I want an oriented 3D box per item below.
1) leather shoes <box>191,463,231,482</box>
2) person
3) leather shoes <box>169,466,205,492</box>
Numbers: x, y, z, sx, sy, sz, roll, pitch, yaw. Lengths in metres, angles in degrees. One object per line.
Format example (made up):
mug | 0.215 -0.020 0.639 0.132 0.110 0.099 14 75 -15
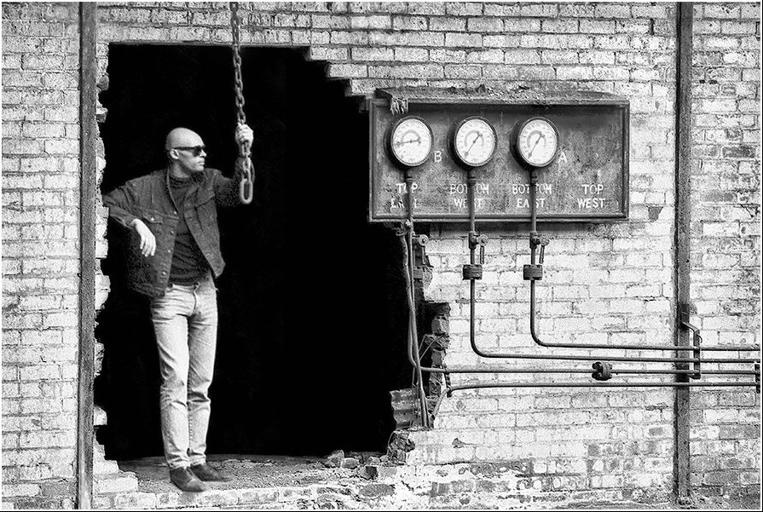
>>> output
leather shoes | -1.506 1.912 16.704 0.393 0.135 0.137 13 8 -4
person | -1.756 0.481 16.516 1.083 3.150 0.576 -1 -4 -7
leather shoes | -1.707 1.940 16.515 0.336 0.127 0.165 4 9 37
